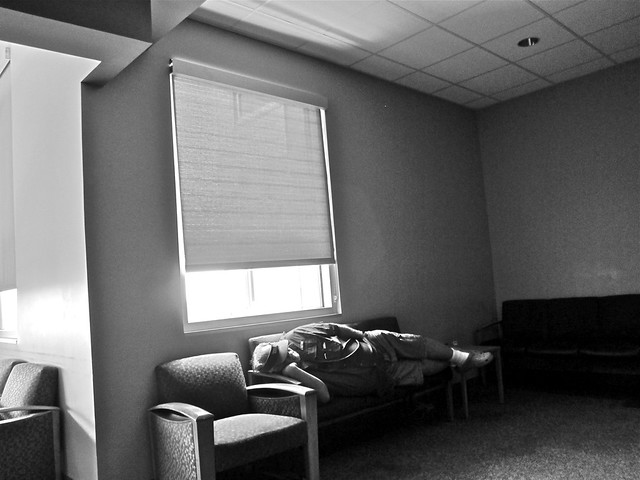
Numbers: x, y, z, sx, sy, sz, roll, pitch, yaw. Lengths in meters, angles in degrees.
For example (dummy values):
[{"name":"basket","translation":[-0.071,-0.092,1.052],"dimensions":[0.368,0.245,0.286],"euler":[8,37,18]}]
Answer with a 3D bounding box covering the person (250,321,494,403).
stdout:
[{"name":"person","translation":[0.282,1.111,4.806],"dimensions":[1.616,0.549,0.940],"euler":[-7,-4,-24]}]
